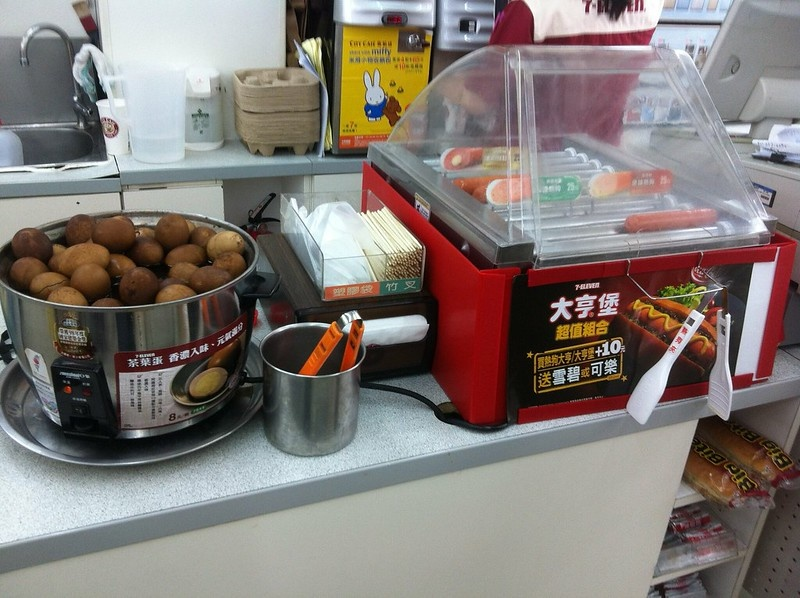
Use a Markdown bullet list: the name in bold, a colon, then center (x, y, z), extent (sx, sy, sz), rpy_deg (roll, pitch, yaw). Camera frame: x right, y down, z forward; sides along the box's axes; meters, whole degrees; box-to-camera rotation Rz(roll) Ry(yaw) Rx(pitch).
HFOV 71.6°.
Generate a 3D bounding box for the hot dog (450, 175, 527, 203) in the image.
- **hot dog**: center (0.195, -0.221, 1.102), extent (0.086, 0.025, 0.087), rpy_deg (0, 30, -2)

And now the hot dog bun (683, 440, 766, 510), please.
- **hot dog bun**: center (0.897, 0.510, 1.549), extent (0.116, 0.109, 0.228), rpy_deg (-20, 36, -31)

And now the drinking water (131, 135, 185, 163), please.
- **drinking water**: center (-1.063, -0.682, 2.436), extent (0.141, 0.086, 0.145), rpy_deg (-11, 28, -29)

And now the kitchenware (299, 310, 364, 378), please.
- **kitchenware**: center (-0.118, 0.086, 0.951), extent (0.108, 0.123, 0.053), rpy_deg (-6, 30, -11)
